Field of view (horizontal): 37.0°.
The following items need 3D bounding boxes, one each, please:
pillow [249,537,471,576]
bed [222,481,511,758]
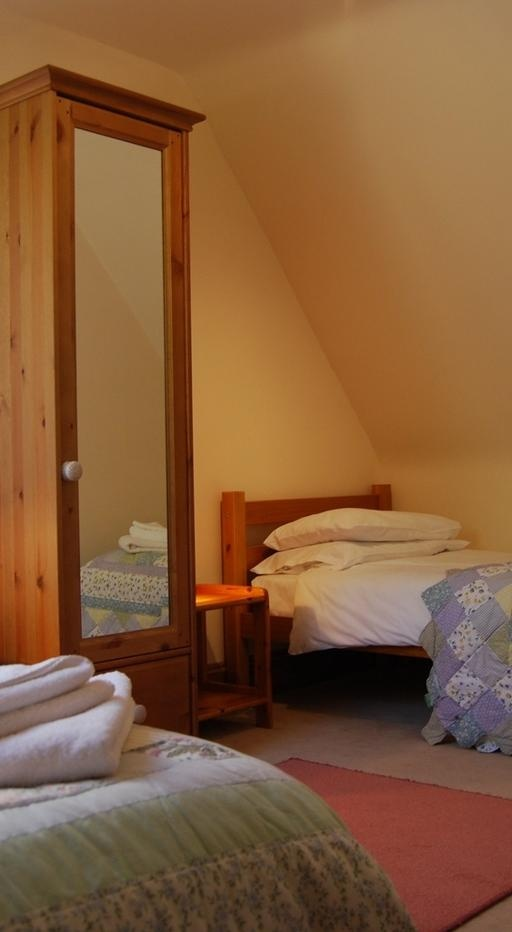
[{"bbox_3d":[0.437,0.399,3.302,0.912,0.140,0.501,-1,-5,0],"label":"pillow"},{"bbox_3d":[0.411,0.548,3.385,0.899,0.697,0.868,-1,1,22],"label":"bed"}]
